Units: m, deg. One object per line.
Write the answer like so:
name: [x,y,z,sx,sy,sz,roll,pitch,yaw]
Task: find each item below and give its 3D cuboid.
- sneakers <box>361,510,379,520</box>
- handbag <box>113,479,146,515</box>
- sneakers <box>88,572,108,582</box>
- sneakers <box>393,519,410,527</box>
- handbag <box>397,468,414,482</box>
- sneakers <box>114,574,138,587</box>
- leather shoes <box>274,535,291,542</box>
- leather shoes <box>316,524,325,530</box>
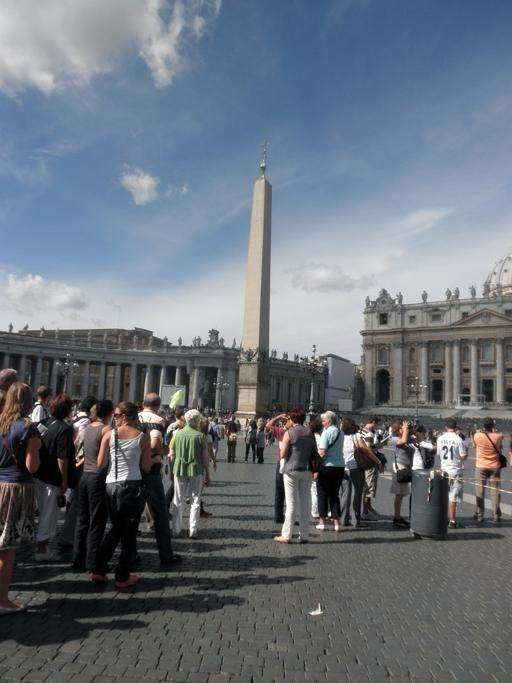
sneakers: [2.000,3.059,8.333,0.331,0.140,0.129,6,-6,-9]
handbag: [-1.123,1.435,4.316,0.133,0.336,0.330,-3,-8,42]
sneakers: [-1.444,2.179,4.392,0.077,0.069,0.157,3,-14,6]
sneakers: [2.391,2.981,7.768,0.238,0.099,0.113,-4,-5,22]
handbag: [2.394,2.153,7.550,0.220,0.235,0.170,8,5,38]
sneakers: [-1.186,2.192,4.352,0.083,0.098,0.231,2,-8,16]
leather shoes: [0.340,2.624,6.279,0.227,0.092,0.096,-2,-17,38]
leather shoes: [0.987,2.831,7.222,0.069,0.089,0.187,3,-8,-3]
